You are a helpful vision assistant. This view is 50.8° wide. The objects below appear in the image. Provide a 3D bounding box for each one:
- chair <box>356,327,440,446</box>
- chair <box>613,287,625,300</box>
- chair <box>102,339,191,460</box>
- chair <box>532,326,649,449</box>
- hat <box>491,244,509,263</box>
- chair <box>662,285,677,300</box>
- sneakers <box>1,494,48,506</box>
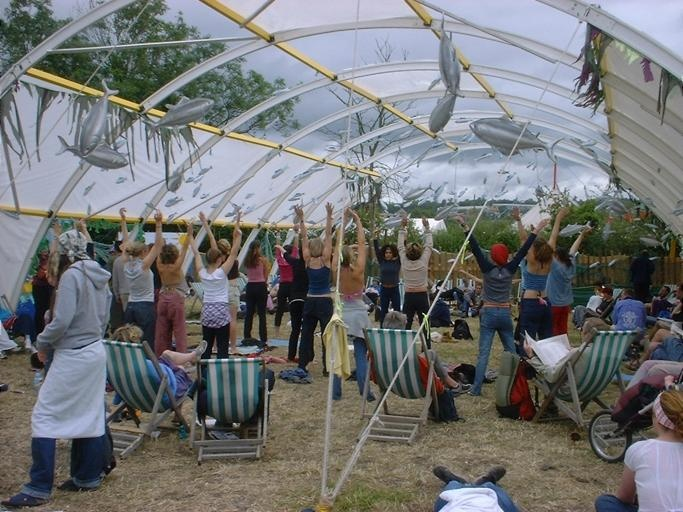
[{"bbox_3d":[0.994,1.890,11.259,1.055,1.678,1.696,2,2,23],"label":"chair"},{"bbox_3d":[6.713,0.916,17.344,0.208,0.289,0.290,-2,-19,-9],"label":"chair"},{"bbox_3d":[-2.917,1.919,10.503,1.042,1.537,1.743,4,2,20],"label":"chair"},{"bbox_3d":[3.761,1.849,11.074,1.017,1.349,1.510,1,-6,-24],"label":"chair"},{"bbox_3d":[2.698,-0.062,12.215,0.248,0.345,0.340,-1,29,10],"label":"hat"},{"bbox_3d":[8.147,0.914,17.818,0.295,0.412,0.410,0,7,20],"label":"chair"},{"bbox_3d":[-3.912,2.999,8.884,0.441,0.188,0.198,7,-16,-8],"label":"sneakers"}]
